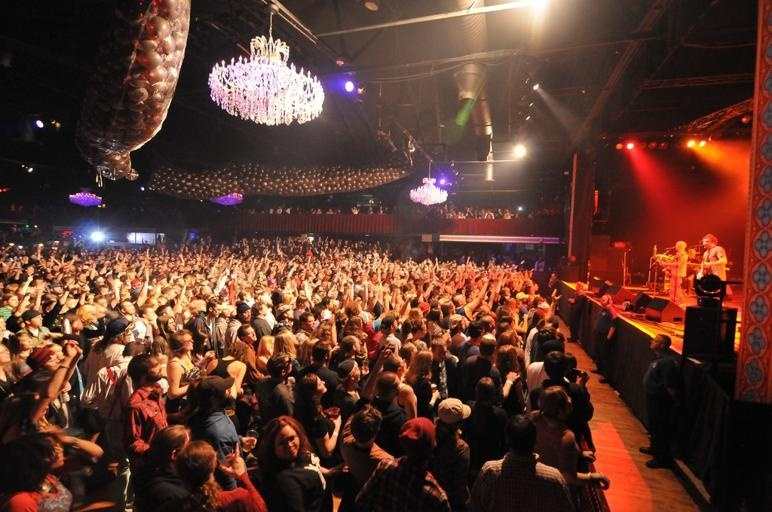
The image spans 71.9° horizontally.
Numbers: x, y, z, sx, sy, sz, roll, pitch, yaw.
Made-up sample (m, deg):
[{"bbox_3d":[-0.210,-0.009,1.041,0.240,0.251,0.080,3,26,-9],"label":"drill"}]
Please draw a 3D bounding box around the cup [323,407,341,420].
[{"bbox_3d":[-0.722,2.079,7.167,0.172,0.156,0.128,-2,0,-8],"label":"cup"}]

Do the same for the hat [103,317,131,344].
[{"bbox_3d":[-3.882,1.077,7.761,0.274,0.382,0.113,34,-12,18],"label":"hat"}]

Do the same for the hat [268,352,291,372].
[{"bbox_3d":[-1.457,1.390,7.260,0.258,0.259,0.216,-6,28,-15],"label":"hat"}]

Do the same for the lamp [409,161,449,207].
[{"bbox_3d":[1.819,-3.198,23.102,1.800,2.741,1.835,0,-1,1],"label":"lamp"}]

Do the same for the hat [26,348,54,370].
[{"bbox_3d":[-4.527,1.327,7.042,0.251,0.284,0.255,45,4,25],"label":"hat"}]

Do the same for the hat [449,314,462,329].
[{"bbox_3d":[1.150,1.066,9.094,0.217,0.215,0.167,-29,12,-9],"label":"hat"}]

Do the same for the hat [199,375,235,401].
[{"bbox_3d":[-2.151,1.693,6.985,0.331,0.287,0.641,4,-3,13],"label":"hat"}]

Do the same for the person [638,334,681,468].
[{"bbox_3d":[4.356,2.275,8.465,0.516,2.078,0.428,3,-3,40],"label":"person"}]

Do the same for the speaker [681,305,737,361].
[{"bbox_3d":[4.992,1.170,8.190,0.711,0.831,0.473,4,-3,22],"label":"speaker"}]

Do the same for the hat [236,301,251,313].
[{"bbox_3d":[-2.529,0.883,9.454,0.204,0.185,0.161,-7,10,-43],"label":"hat"}]

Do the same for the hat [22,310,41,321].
[{"bbox_3d":[-5.768,0.932,8.671,0.211,0.168,0.159,-23,23,-38],"label":"hat"}]

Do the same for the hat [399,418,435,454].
[{"bbox_3d":[0.422,2.017,6.199,0.315,0.403,0.419,2,9,35],"label":"hat"}]

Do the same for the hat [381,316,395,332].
[{"bbox_3d":[0.053,1.081,8.636,0.193,0.234,0.231,7,48,15],"label":"hat"}]

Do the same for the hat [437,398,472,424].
[{"bbox_3d":[0.889,1.961,6.729,0.405,0.152,0.295,-6,20,-18],"label":"hat"}]
